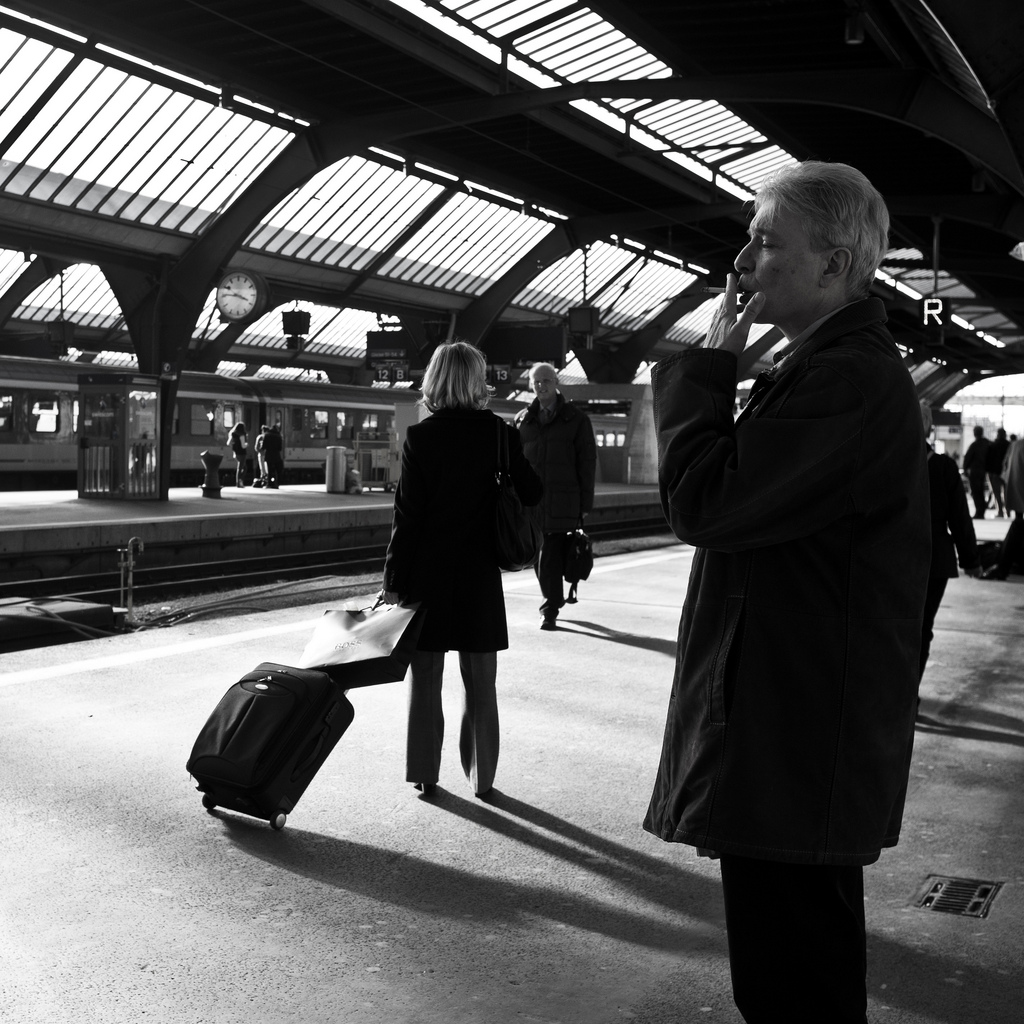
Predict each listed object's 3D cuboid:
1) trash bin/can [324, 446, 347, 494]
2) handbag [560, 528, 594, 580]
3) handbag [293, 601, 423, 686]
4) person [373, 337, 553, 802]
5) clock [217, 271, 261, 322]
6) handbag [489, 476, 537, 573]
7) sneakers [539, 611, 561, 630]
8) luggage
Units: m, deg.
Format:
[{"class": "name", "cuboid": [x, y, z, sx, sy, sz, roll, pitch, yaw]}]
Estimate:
[{"class": "trash bin/can", "cuboid": [-4.083, -0.973, 24.209, 0.473, 1.012, 1.023, 1, 3, -8]}, {"class": "handbag", "cuboid": [0.466, 0.284, 7.552, 0.240, 0.537, 0.381, 1, 3, 6]}, {"class": "handbag", "cuboid": [-0.540, 0.468, 3.692, 0.404, 0.291, 0.390, 2, 3, 3]}, {"class": "person", "cuboid": [-0.194, 0.197, 3.885, 0.581, 1.655, 0.396, 0, 3, -15]}, {"class": "clock", "cuboid": [-5.704, -4.465, 21.764, 0.878, 1.121, 0.180, 3, 5, 17]}, {"class": "handbag", "cuboid": [-0.011, 0.036, 3.915, 0.150, 0.472, 0.378, -5, -3, 8]}, {"class": "sneakers", "cuboid": [0.252, 0.745, 7.391, 0.107, 0.138, 0.114, 1, 5, 9]}, {"class": "luggage", "cuboid": [-0.842, 0.771, 3.539, 0.401, 0.301, 0.544, -5, 42, 31]}]
